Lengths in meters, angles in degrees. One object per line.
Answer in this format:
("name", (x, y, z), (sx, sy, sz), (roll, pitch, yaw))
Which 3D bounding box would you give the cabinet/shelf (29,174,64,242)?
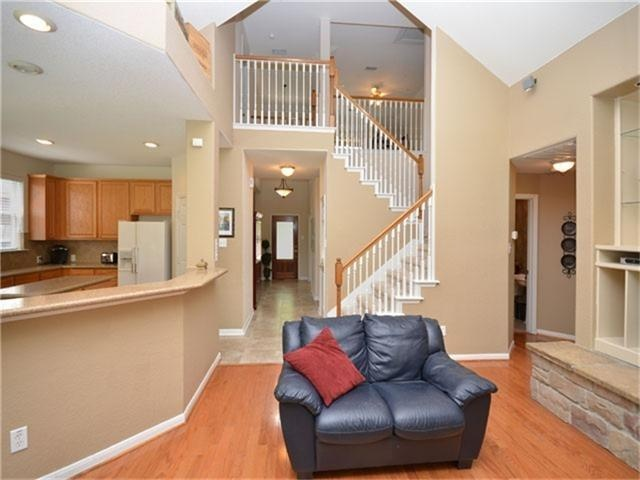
("cabinet/shelf", (-4.481, -0.540, 7.488), (0.551, 1.041, 0.326), (-2, 2, -37))

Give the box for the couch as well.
("couch", (0.528, 1.621, 4.555), (1.999, 1.300, 1.338), (0, -3, -6))

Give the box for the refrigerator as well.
("refrigerator", (-2.830, 0.208, 7.264), (0.767, 0.990, 0.219), (-1, 2, 7))

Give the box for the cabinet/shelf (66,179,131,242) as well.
("cabinet/shelf", (-3.819, -0.506, 8.007), (1.077, 1.058, 0.387), (0, -1, 1))

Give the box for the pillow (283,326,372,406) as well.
("pillow", (-0.028, 1.131, 4.475), (0.868, 0.226, 0.884), (16, 4, -25))

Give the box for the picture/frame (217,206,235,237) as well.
("picture/frame", (-1.418, -0.267, 6.826), (0.023, 0.443, 0.381), (1, 2, 28))

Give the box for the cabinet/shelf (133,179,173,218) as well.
("cabinet/shelf", (-3.081, -0.815, 8.186), (0.252, 0.567, 0.690), (17, 1, -16))
